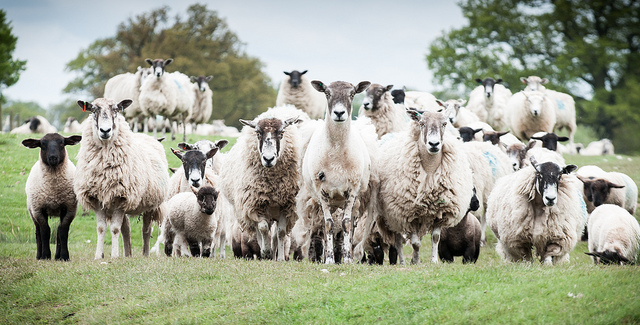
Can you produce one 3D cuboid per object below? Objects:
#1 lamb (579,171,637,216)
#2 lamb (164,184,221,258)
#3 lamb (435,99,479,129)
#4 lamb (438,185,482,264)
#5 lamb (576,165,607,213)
[{"bbox_3d":[14.666,1.563,33.729,2.008,1.928,3.310,-8,-11,39],"label":"lamb"},{"bbox_3d":[-5.946,2.775,31.040,2.503,3.312,1.131,-4,-10,27],"label":"lamb"},{"bbox_3d":[8.377,-2.981,39.313,1.536,1.660,3.435,-16,-1,11],"label":"lamb"},{"bbox_3d":[6.465,3.440,30.447,1.934,2.340,1.016,-1,-9,9],"label":"lamb"},{"bbox_3d":[13.886,1.145,33.272,1.457,2.782,1.399,1,1,16],"label":"lamb"}]
